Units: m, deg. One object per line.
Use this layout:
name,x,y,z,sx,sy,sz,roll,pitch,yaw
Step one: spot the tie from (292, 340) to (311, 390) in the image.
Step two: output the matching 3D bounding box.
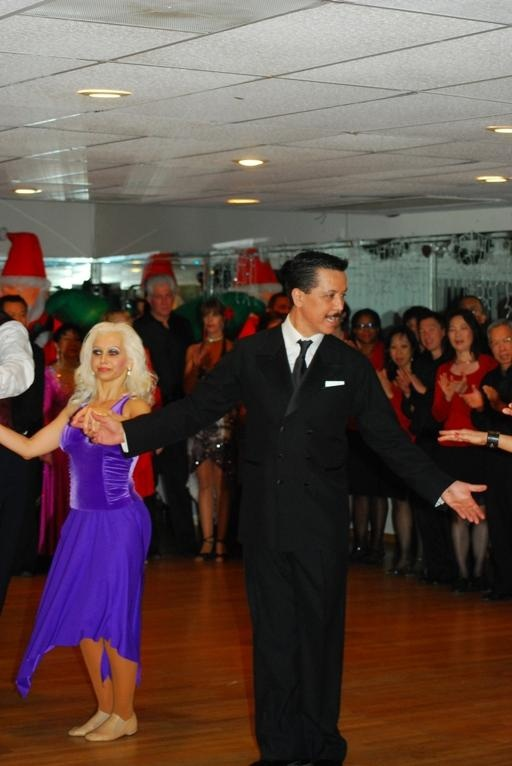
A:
tie,0.133,-0.053,1.672,0.033,0.023,0.184,10,43,7

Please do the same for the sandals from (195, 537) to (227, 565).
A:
sandals,-0.420,1.534,5.183,0.124,0.131,0.351,-1,-7,12

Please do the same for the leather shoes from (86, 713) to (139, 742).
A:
leather shoes,-0.519,1.253,2.133,0.201,0.078,0.074,0,3,-26
